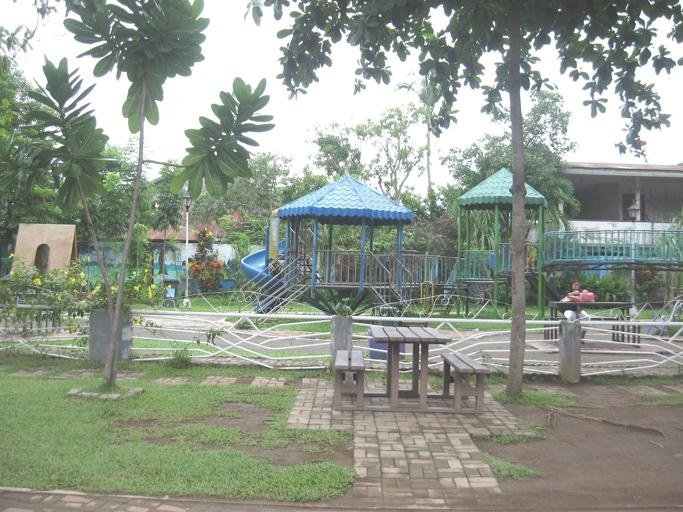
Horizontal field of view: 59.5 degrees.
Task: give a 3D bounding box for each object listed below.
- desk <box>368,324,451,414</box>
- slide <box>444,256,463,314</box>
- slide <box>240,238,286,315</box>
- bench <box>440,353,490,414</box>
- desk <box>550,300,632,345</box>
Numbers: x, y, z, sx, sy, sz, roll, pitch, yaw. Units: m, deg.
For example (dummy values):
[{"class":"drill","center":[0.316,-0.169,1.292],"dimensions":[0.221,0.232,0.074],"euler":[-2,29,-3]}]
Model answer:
[{"class":"desk","center":[0.987,1.638,8.945],"dimensions":[1.074,1.067,1.104],"euler":[1,6,3]},{"class":"slide","center":[4.220,1.160,22.637],"dimensions":[0.698,2.386,2.851],"euler":[2,6,12]},{"class":"slide","center":[-2.697,0.854,20.883],"dimensions":[1.903,1.092,2.677],"euler":[-5,19,3]},{"class":"bench","center":[1.786,1.857,8.813],"dimensions":[0.574,0.721,1.108],"euler":[1,6,6]},{"class":"desk","center":[7.868,2.073,18.421],"dimensions":[1.919,1.308,1.177],"euler":[-2,-3,21]}]
